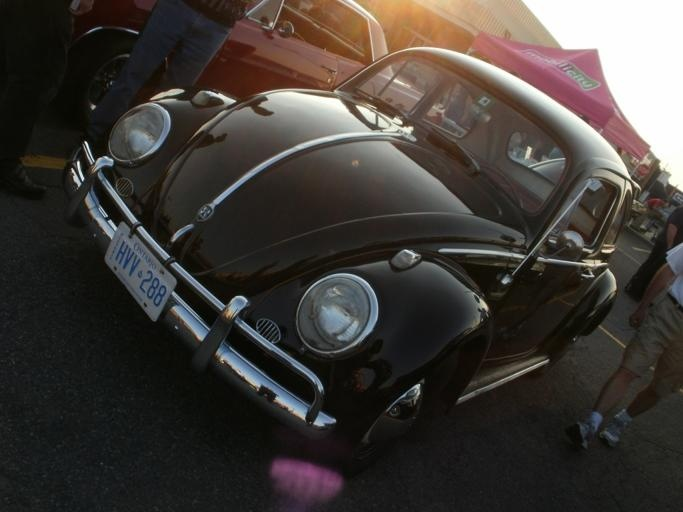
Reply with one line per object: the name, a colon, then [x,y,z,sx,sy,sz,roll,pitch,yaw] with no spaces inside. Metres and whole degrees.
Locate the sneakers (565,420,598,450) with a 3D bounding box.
sneakers: [1.971,1.502,4.000,0.171,0.138,0.266,27,54,29]
